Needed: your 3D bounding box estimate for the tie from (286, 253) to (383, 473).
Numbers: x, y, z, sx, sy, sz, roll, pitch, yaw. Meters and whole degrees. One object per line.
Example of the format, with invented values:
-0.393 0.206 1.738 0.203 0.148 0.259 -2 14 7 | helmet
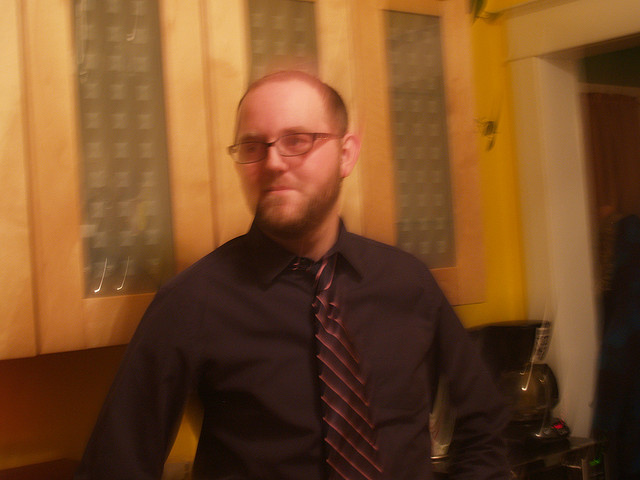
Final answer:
0.033 0.203 0.902 0.105 0.379 0.024 -6 -9 -13 | tie
